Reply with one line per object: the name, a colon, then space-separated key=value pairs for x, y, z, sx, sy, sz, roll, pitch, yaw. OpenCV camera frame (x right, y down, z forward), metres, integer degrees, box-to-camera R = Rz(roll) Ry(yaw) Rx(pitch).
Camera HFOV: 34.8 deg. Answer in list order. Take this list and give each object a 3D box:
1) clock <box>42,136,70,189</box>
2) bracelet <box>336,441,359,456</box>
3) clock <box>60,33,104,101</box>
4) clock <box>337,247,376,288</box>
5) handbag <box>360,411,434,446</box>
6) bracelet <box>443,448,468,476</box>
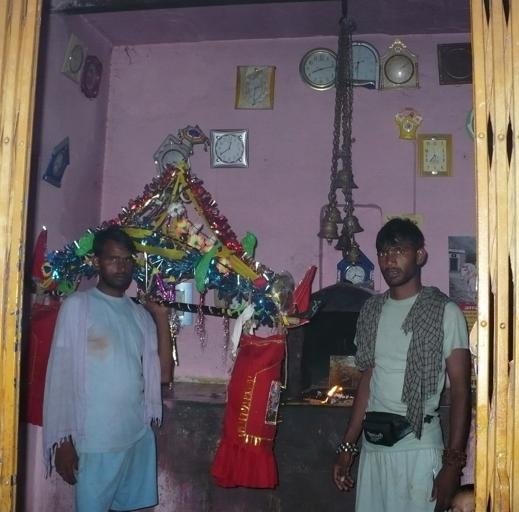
clock: x=-1.295 y=-0.591 z=5.225 sx=0.036 sy=0.277 sz=0.267 roll=18 pitch=29 yaw=5
bracelet: x=0.403 y=0.880 z=3.805 sx=0.072 sy=0.029 sz=0.071 roll=-4 pitch=-9 yaw=37
clock: x=-1.200 y=-1.265 z=5.586 sx=0.066 sy=0.295 sz=0.297 roll=7 pitch=7 yaw=12
clock: x=0.638 y=0.087 z=5.500 sx=0.227 sy=0.336 sz=0.042 roll=-4 pitch=41 yaw=8
handbag: x=0.552 y=0.739 z=3.561 sx=0.199 sy=0.095 sz=0.155 roll=-7 pitch=19 yaw=-38
bracelet: x=0.805 y=0.838 z=3.373 sx=0.078 sy=0.072 sz=0.097 roll=2 pitch=-11 yaw=8
